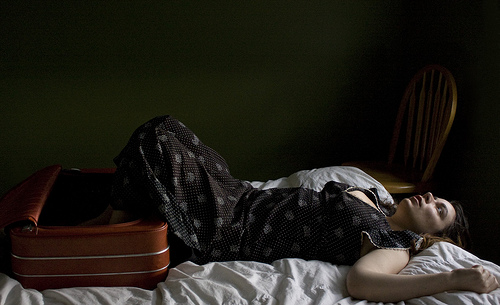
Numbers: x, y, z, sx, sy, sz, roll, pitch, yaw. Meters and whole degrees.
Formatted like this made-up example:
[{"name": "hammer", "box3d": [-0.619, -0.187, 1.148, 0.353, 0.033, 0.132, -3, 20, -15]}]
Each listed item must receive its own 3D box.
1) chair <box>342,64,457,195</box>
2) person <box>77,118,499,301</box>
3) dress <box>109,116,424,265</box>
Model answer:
[{"name": "chair", "box3d": [1.250, -0.226, 3.400, 0.677, 1.050, 0.568, -9, 34, -8]}, {"name": "person", "box3d": [0.120, 0.622, 2.564, 2.029, 0.761, 1.039, 18, 31, -3]}, {"name": "dress", "box3d": [-0.001, 0.129, 2.451, 1.442, 0.551, 0.915, 5, 11, -1]}]
